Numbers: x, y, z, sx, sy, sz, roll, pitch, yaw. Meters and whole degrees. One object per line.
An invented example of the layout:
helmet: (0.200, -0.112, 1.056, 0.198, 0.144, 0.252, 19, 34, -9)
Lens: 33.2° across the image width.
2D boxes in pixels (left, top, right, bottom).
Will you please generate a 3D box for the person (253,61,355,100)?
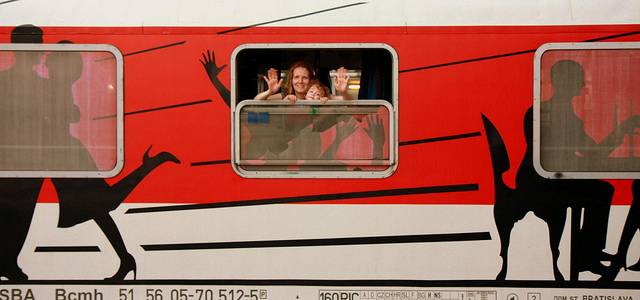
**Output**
person: (-0.267, -0.990, 15.544, 1.460, 0.561, 0.443, 0, 19, 0)
